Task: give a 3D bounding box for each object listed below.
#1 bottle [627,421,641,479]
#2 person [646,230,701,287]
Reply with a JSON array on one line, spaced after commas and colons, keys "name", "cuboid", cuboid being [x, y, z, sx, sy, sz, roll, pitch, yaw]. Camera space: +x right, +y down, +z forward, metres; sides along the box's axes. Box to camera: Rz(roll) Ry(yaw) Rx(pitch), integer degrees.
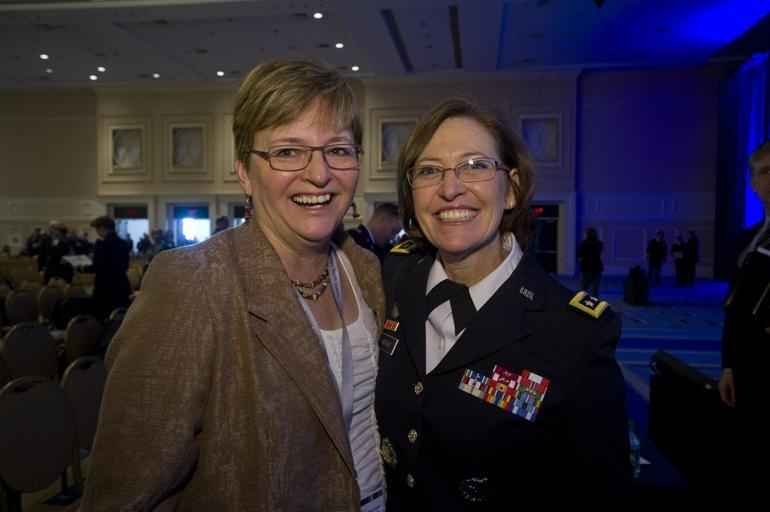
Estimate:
[{"name": "bottle", "cuboid": [1.774, 1.396, 4.138, 0.119, 0.099, 0.409, -2, 31, 21]}, {"name": "person", "cuboid": [8.228, 0.035, 16.441, 1.391, 1.835, 0.717, -2, -12, 27]}]
